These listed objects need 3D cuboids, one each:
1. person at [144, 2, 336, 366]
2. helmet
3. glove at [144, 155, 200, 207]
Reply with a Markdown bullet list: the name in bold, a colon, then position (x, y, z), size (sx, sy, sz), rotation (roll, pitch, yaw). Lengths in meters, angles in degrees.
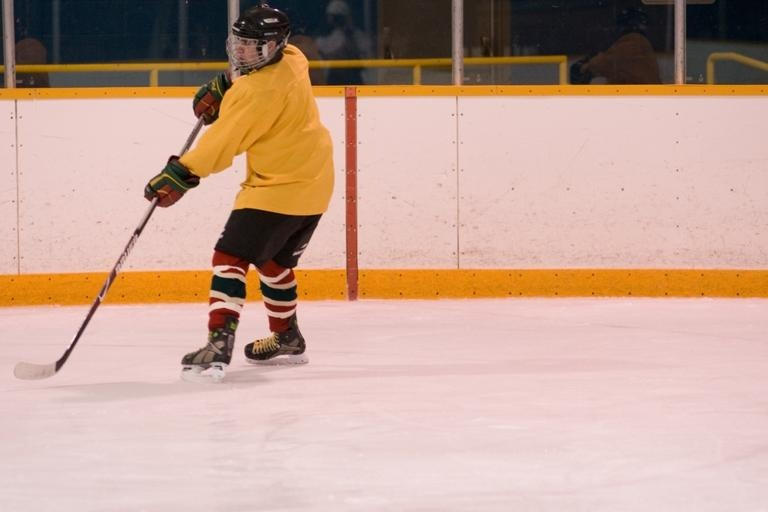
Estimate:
- **person**: position (-0.665, -0.327, 4.666), size (0.759, 1.753, 0.413), rotation (-3, 13, -38)
- **helmet**: position (-0.615, -1.061, 4.660), size (0.373, 0.313, 0.264), rotation (-8, 31, -21)
- **glove**: position (-1.046, -0.347, 4.680), size (0.262, 0.104, 0.305), rotation (-20, 11, -5)
